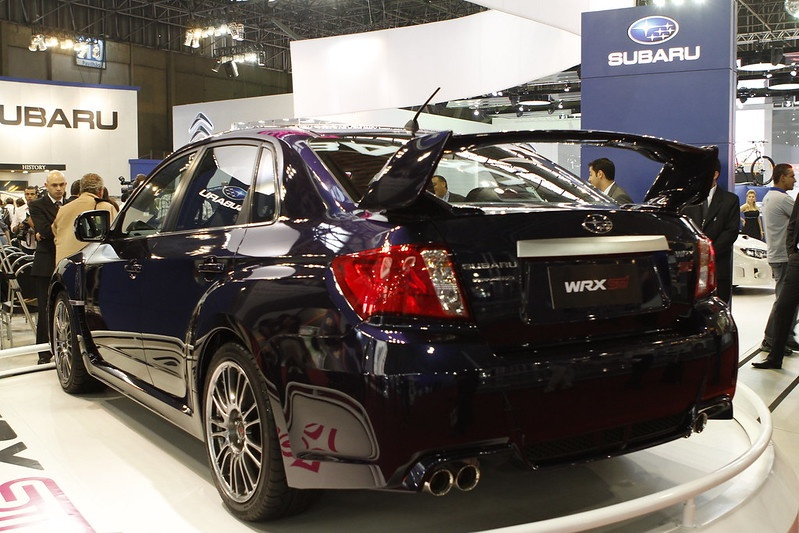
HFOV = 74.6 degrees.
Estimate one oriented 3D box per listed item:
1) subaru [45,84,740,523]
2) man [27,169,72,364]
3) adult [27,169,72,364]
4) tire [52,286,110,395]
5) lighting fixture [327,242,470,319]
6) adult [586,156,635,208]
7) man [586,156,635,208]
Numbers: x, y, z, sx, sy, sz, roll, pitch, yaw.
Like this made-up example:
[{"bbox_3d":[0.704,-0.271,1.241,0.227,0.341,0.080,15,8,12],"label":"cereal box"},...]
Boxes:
[{"bbox_3d":[-0.384,0.014,4.134,2.519,1.681,4.923,-3,6,-33],"label":"subaru"},{"bbox_3d":[-3.828,-0.019,5.921,0.583,2.051,0.495,-2,-2,-25],"label":"man"},{"bbox_3d":[-3.780,-0.006,5.905,0.563,2.034,0.498,-3,4,-28],"label":"adult"},{"bbox_3d":[-2.575,0.583,4.231,0.261,0.805,0.794,-3,12,-42],"label":"tire"},{"bbox_3d":[-0.009,0.053,1.923,0.501,0.268,0.128,-1,8,6],"label":"lighting fixture"},{"bbox_3d":[2.309,-0.911,5.747,0.409,0.597,0.695,-7,15,14],"label":"adult"},{"bbox_3d":[2.294,-0.905,5.749,0.442,0.596,0.715,-7,14,13],"label":"man"}]
